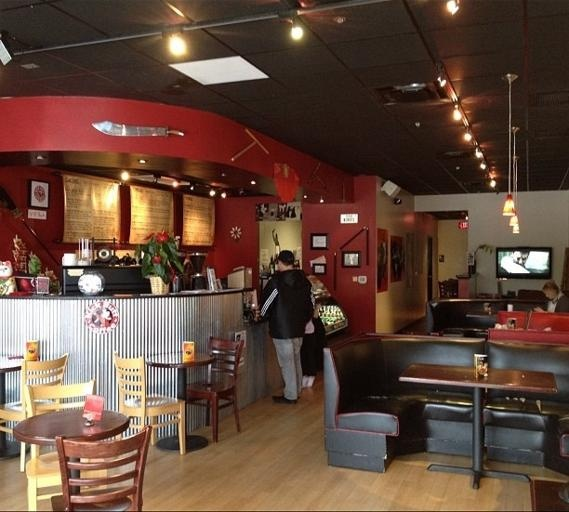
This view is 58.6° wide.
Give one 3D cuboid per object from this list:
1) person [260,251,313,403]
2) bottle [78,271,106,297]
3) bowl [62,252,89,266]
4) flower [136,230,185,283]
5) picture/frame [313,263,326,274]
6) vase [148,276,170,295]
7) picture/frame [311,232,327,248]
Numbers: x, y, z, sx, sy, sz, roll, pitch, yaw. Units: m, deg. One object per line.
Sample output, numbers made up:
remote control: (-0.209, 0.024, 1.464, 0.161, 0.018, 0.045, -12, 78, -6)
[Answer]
person: (0.043, 0.861, 6.314, 0.715, 1.613, 0.363, -1, 0, -42)
bottle: (-1.903, 0.272, 5.109, 0.255, 0.230, 0.221, -19, -2, -13)
bowl: (-2.223, 0.043, 5.446, 0.290, 0.143, 0.235, -1, 0, -25)
flower: (-1.280, 0.015, 5.282, 0.424, 0.508, 0.298, -1, 0, -31)
picture/frame: (0.720, 0.245, 10.408, 0.248, 0.176, 0.019, 2, 4, 26)
vase: (-1.310, 0.309, 5.286, 0.218, 0.182, 0.164, 0, -1, -5)
picture/frame: (0.714, -0.334, 10.443, 0.379, 0.334, 0.030, 1, -2, 18)
